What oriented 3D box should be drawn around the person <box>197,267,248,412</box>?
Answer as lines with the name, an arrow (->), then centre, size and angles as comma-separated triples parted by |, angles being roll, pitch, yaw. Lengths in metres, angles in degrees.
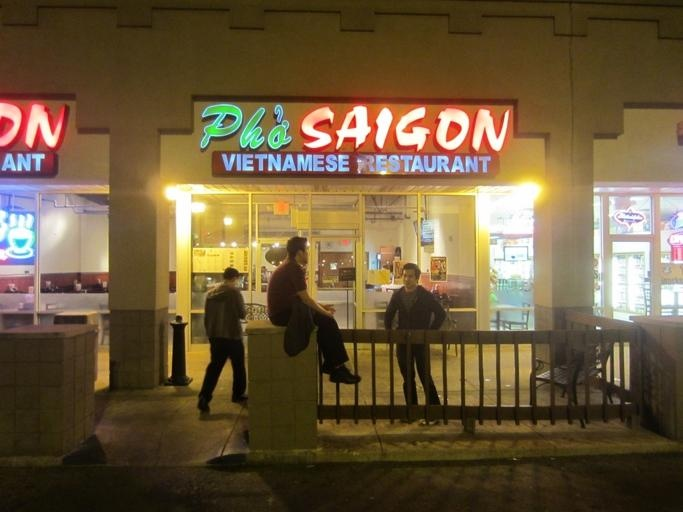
person -> -2.225, 1.558, 14.168 | 1.001, 2.666, 0.591 | 2, -2, -24

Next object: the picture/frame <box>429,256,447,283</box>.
picture/frame -> 2.376, 0.352, 18.553 | 0.583, 0.886, 0.112 | -1, 1, -1

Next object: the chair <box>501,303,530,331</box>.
chair -> 4.417, 1.573, 18.895 | 0.602, 1.140, 0.597 | 1, 1, -3

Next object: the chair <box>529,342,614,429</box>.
chair -> 4.080, 2.205, 14.024 | 1.094, 1.431, 1.476 | -1, -7, 2

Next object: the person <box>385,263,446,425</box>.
person -> 1.304, 1.555, 13.370 | 1.046, 2.828, 1.275 | 1, -2, 2
